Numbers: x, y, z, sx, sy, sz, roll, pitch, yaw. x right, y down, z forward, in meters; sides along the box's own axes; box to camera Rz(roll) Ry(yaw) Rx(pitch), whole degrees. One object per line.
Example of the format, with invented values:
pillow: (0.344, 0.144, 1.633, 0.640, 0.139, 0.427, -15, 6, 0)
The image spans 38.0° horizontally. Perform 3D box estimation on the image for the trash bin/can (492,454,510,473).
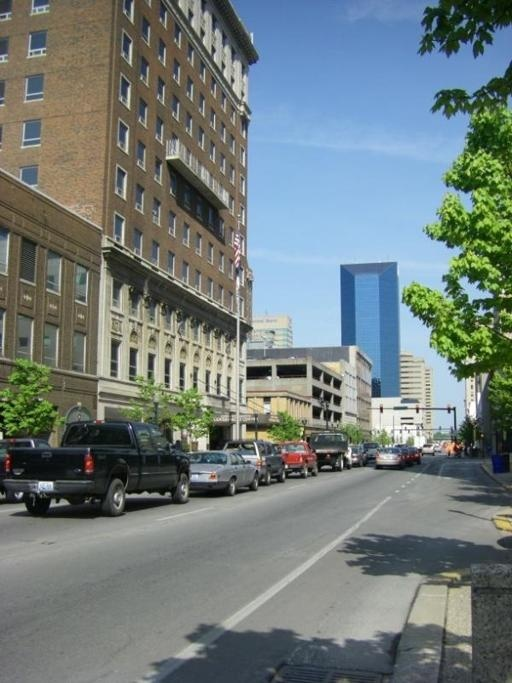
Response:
trash bin/can: (11.949, 5.916, 36.238, 0.524, 0.770, 1.028, -4, -7, 27)

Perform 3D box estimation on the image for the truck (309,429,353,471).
truck: (4.707, 6.657, 45.891, 1.651, 2.035, 3.858, -1, -3, 18)

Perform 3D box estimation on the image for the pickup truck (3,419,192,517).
pickup truck: (-3.119, 2.596, 16.064, 1.747, 1.601, 3.935, -3, -7, 22)

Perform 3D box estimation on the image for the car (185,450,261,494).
car: (-1.116, 3.890, 22.134, 1.008, 0.888, 2.571, -1, -5, 17)

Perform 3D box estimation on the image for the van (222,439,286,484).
van: (0.011, 4.546, 29.138, 1.231, 1.378, 2.910, -1, -2, 18)

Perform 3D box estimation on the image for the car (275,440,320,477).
car: (2.108, 5.716, 36.338, 1.211, 1.077, 2.310, -4, -16, 11)
